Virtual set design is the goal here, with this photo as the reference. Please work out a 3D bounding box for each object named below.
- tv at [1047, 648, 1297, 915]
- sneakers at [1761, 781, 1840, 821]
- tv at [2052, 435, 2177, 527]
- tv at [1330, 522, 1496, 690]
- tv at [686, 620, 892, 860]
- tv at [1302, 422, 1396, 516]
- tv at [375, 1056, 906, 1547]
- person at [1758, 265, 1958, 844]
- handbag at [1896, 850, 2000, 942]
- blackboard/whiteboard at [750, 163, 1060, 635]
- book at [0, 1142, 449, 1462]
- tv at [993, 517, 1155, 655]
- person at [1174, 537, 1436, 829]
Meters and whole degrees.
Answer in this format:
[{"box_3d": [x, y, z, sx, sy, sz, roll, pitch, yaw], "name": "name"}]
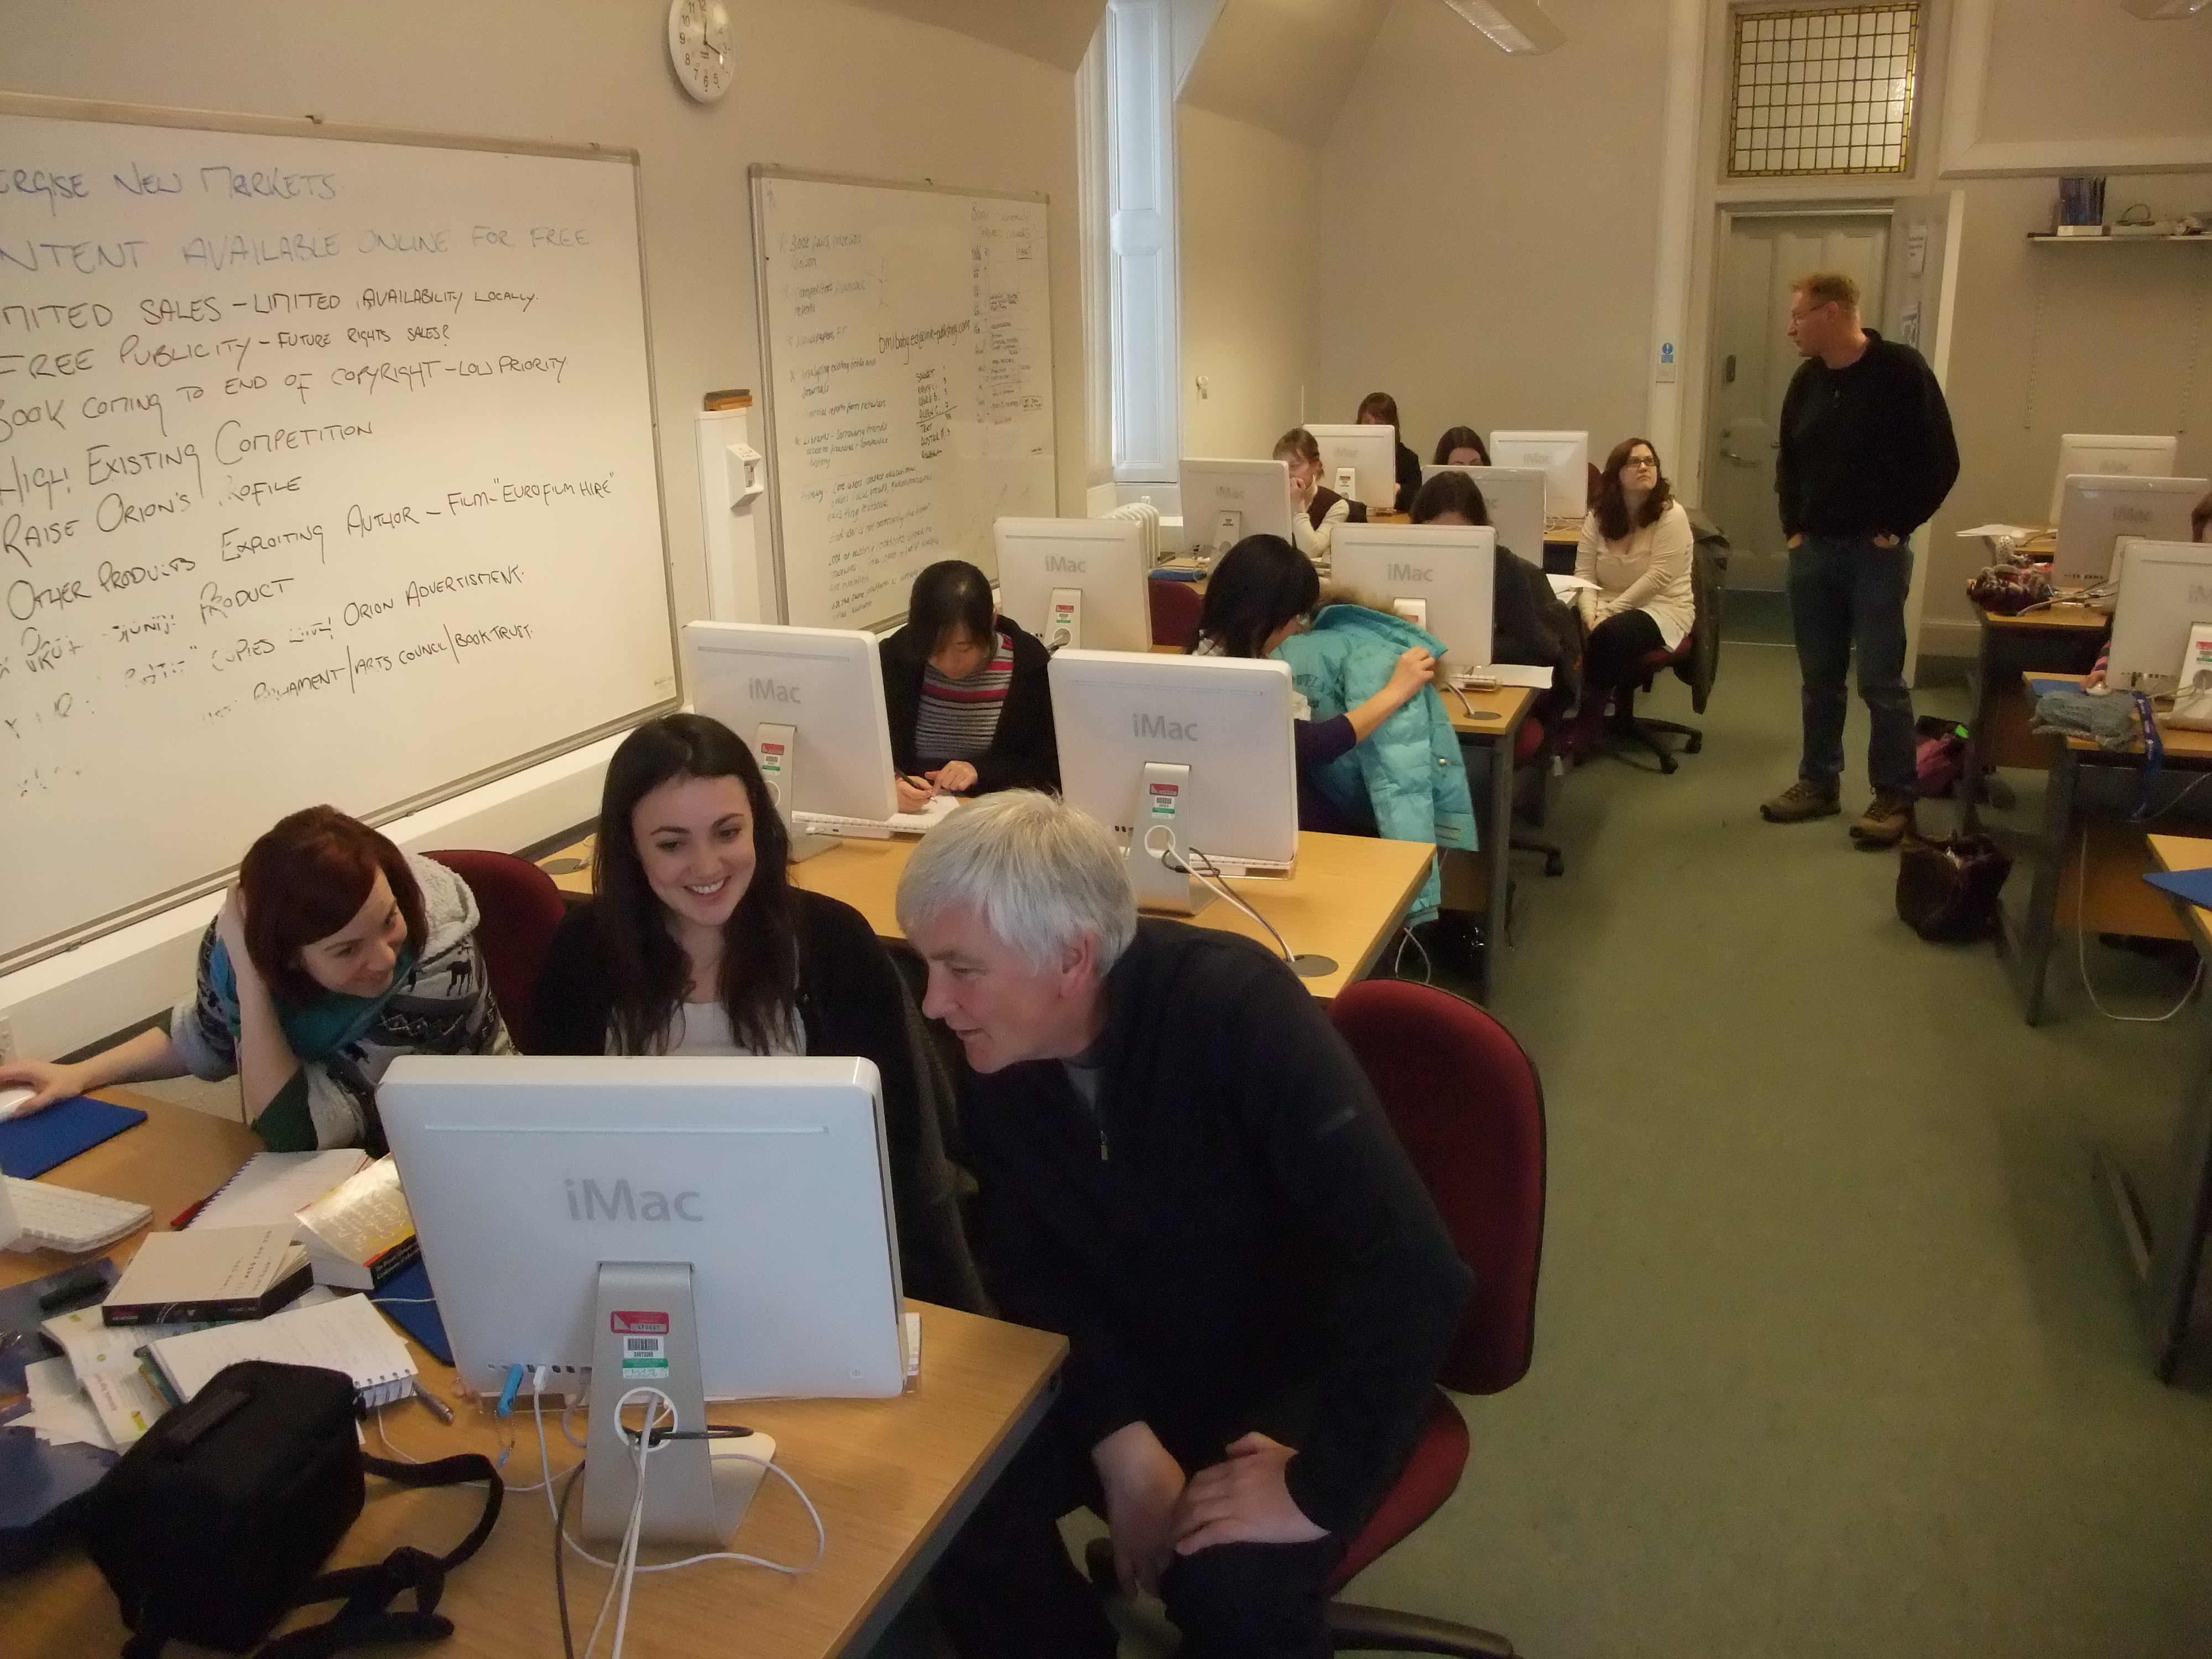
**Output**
[{"box_3d": [0.129, -0.097, 3.050, 0.413, 0.402, 0.189, 9, 35, 21], "name": "tv"}, {"box_3d": [2.669, -0.119, 6.164, 0.278, 0.151, 0.139, -1, 5, -13], "name": "sneakers"}, {"box_3d": [3.755, -1.292, 5.932, 0.440, 0.457, 0.351, 10, 18, 43], "name": "tv"}, {"box_3d": [0.860, -0.627, 4.473, 0.419, 0.458, 0.149, 11, 39, 26], "name": "tv"}, {"box_3d": [-0.657, -0.188, 3.314, 0.403, 0.448, 0.170, 9, 29, 18], "name": "tv"}, {"box_3d": [1.147, -1.686, 7.543, 0.412, 0.452, 0.155, 9, 33, 27], "name": "tv"}, {"box_3d": [-0.546, 0.571, 1.933, 0.473, 0.479, 0.254, 2, 34, 2], "name": "tv"}, {"box_3d": [2.706, -0.974, 5.804, 0.631, 1.972, 0.490, 10, 21, 39], "name": "person"}, {"box_3d": [2.666, 0.190, 5.140, 0.217, 0.305, 0.291, -4, 12, -29], "name": "handbag"}, {"box_3d": [-0.684, -1.397, 5.198, 0.036, 1.292, 1.722, 6, 18, 24], "name": "blackboard/whiteboard"}, {"box_3d": [-1.218, 0.694, 2.258, 0.357, 0.097, 0.389, 4, 10, 20], "name": "book"}, {"box_3d": [-0.096, -0.709, 4.687, 0.445, 0.493, 0.163, 8, 30, 21], "name": "tv"}, {"box_3d": [0.509, -0.338, 3.839, 0.488, 0.794, 0.376, -21, 30, -17], "name": "person"}]
